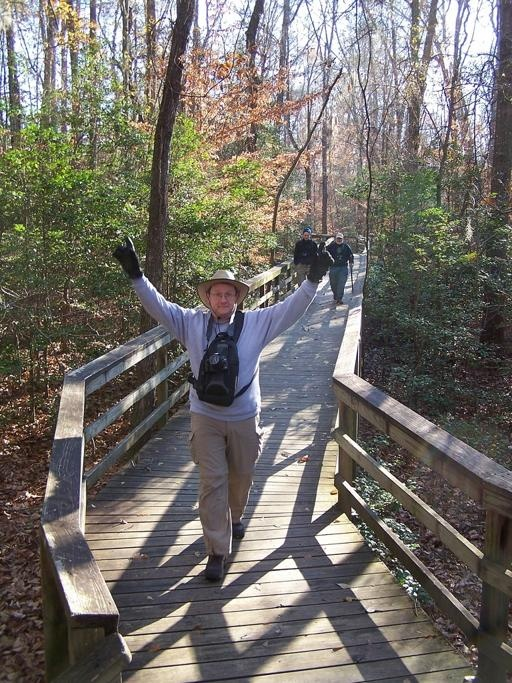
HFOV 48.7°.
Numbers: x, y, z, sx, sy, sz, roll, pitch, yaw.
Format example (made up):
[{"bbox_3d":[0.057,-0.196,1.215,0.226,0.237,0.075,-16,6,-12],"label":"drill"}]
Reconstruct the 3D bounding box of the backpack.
[{"bbox_3d":[-0.146,0.101,2.845,0.327,0.439,0.288,-6,10,-30],"label":"backpack"}]

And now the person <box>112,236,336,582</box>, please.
[{"bbox_3d":[-0.180,0.336,3.060,0.971,1.752,0.591,-7,11,-37],"label":"person"}]

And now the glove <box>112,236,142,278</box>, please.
[{"bbox_3d":[-0.672,-0.435,2.953,0.135,0.218,0.269,-3,9,-13],"label":"glove"}]

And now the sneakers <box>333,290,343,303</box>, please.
[{"bbox_3d":[1.974,-1.052,13.592,0.127,0.180,0.418,3,25,10],"label":"sneakers"}]

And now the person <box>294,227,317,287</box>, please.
[{"bbox_3d":[1.017,-1.629,11.758,0.476,1.452,0.421,6,41,9],"label":"person"}]
